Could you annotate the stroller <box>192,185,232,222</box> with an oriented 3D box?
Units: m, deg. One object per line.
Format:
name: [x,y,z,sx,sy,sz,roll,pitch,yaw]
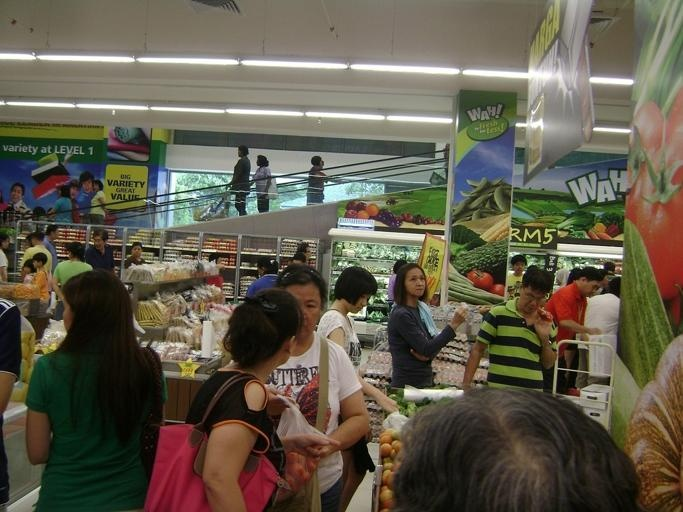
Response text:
stroller: [-3.385,-1.342,13.406,0.729,1.076,1.127,-1,2,-36]

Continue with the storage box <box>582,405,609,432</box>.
storage box: [1.875,1.175,3.755,0.198,0.146,0.151,1,-1,45]

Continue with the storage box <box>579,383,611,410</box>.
storage box: [1.918,1.051,3.846,0.193,0.087,0.255,2,-1,39]

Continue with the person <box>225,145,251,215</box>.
person: [-2.595,-1.905,13.225,0.398,2.032,0.514,2,3,19]

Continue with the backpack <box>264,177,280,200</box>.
backpack: [-1.757,-1.732,13.170,0.282,0.506,0.502,2,-1,-11]
